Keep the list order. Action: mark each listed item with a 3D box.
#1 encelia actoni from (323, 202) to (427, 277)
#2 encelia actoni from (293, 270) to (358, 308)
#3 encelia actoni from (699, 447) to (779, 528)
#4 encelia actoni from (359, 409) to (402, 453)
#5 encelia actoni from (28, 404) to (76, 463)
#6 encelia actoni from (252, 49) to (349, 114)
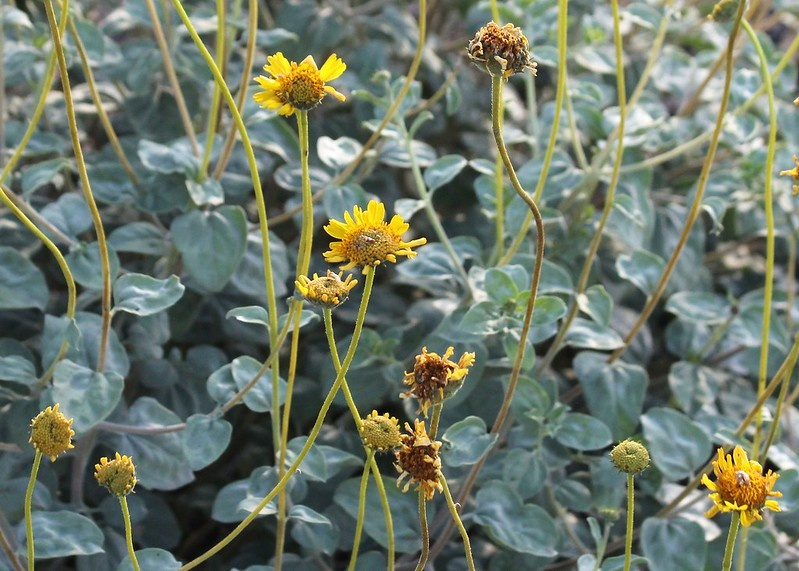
[{"bbox_3d":[-0.032,-0.073,1.309,0.126,0.137,0.048,-2,61,6],"label":"encelia actoni"},{"bbox_3d":[-0.107,0.009,1.293,0.086,0.079,0.037,13,78,-38],"label":"encelia actoni"},{"bbox_3d":[0.476,0.280,1.289,0.113,0.052,0.108,-1,27,0],"label":"encelia actoni"},{"bbox_3d":[-0.026,0.203,1.291,0.060,0.025,0.062,34,38,22],"label":"encelia actoni"},{"bbox_3d":[-0.481,0.215,1.302,0.059,0.063,0.042,3,84,-22],"label":"encelia actoni"},{"bbox_3d":[-0.138,-0.291,1.325,0.154,0.135,0.063,-8,91,-33],"label":"encelia actoni"}]
